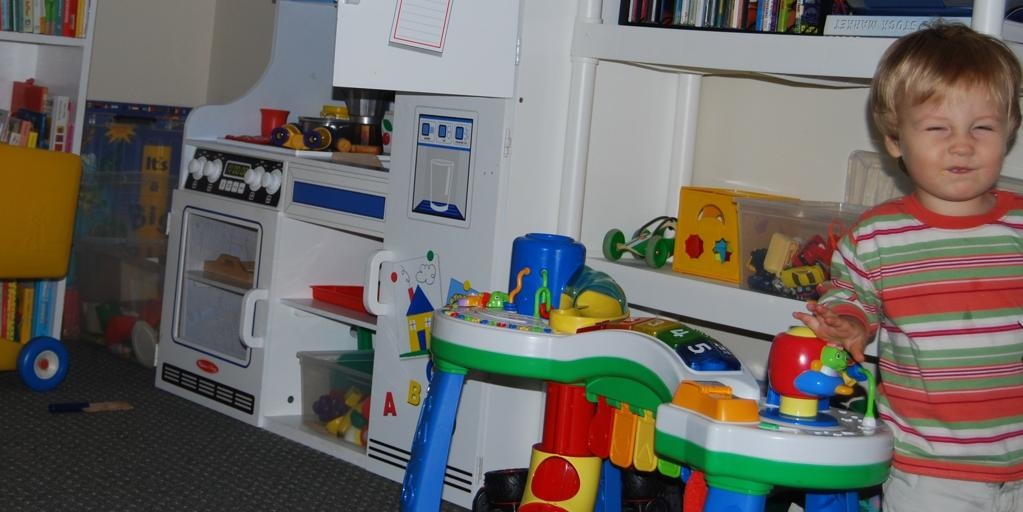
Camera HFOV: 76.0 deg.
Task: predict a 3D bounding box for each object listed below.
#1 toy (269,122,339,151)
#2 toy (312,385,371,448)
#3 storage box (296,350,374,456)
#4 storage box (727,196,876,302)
[{"bbox_3d":[-1.046,-0.594,3.241,0.311,0.115,0.166,11,16,19],"label":"toy"},{"bbox_3d":[-0.784,0.708,3.037,0.374,0.225,0.113,18,18,38],"label":"toy"},{"bbox_3d":[-0.833,0.662,3.099,0.406,0.251,0.406,0,5,-38],"label":"storage box"},{"bbox_3d":[0.984,-0.028,2.265,0.410,0.273,0.313,6,5,38],"label":"storage box"}]
